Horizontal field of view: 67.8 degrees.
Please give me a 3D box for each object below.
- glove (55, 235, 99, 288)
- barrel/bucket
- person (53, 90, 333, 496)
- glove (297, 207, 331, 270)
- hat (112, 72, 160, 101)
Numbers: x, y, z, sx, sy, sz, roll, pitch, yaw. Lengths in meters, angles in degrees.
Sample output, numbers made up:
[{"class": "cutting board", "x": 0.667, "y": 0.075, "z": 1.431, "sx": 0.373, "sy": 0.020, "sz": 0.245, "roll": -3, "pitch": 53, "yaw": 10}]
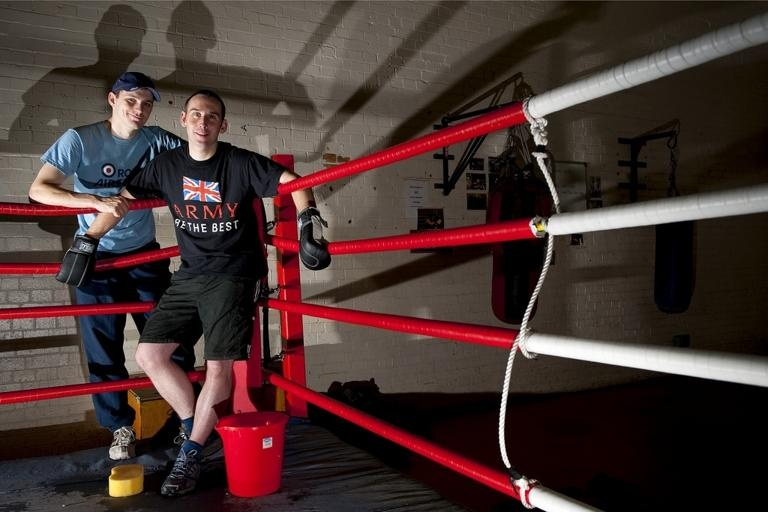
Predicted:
[{"class": "glove", "x": -1.649, "y": 0.029, "z": 3.056, "sx": 0.188, "sy": 0.276, "sz": 0.089, "roll": 15, "pitch": -3, "yaw": -17}, {"class": "barrel/bucket", "x": -0.644, "y": 1.005, "z": 2.923, "sx": 0.414, "sy": 0.316, "sz": 0.353, "roll": 1, "pitch": -8, "yaw": -12}, {"class": "person", "x": -0.955, "y": 0.120, "z": 3.098, "sx": 0.777, "sy": 1.998, "sz": 0.705, "roll": -6, "pitch": 13, "yaw": -34}, {"class": "glove", "x": -0.362, "y": -0.079, "z": 2.909, "sx": 0.153, "sy": 0.343, "sz": 0.244, "roll": 0, "pitch": 10, "yaw": -8}, {"class": "hat", "x": -1.508, "y": -1.030, "z": 3.359, "sx": 0.289, "sy": 0.135, "sz": 0.201, "roll": -7, "pitch": 2, "yaw": 25}]
